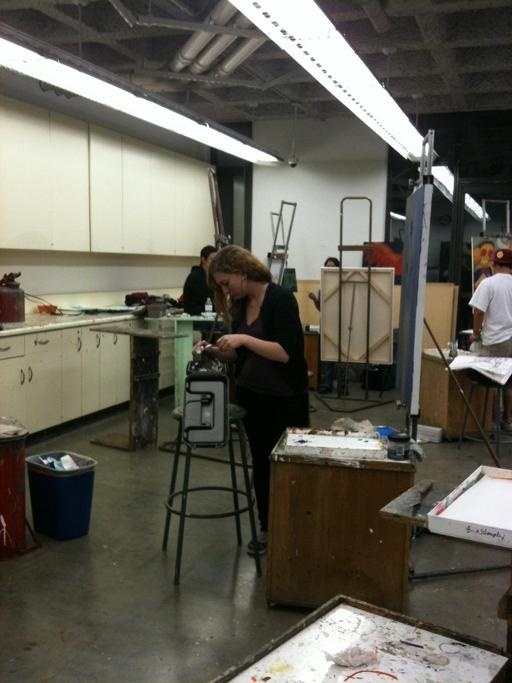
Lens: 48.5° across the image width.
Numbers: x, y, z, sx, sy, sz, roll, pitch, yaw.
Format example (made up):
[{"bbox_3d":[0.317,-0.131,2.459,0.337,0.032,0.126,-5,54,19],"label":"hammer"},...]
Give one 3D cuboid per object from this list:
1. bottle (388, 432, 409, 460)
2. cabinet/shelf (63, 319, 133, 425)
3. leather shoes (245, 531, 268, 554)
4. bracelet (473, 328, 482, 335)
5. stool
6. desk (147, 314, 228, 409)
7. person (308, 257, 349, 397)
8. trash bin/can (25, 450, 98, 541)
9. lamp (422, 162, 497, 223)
[{"bbox_3d":[0.499,0.366,2.009,0.076,0.085,0.080,-1,3,-4],"label":"bottle"},{"bbox_3d":[-1.422,0.246,5.035,0.341,0.802,0.906,2,3,15],"label":"cabinet/shelf"},{"bbox_3d":[0.001,0.965,2.717,0.061,0.082,0.185,-1,-7,9],"label":"leather shoes"},{"bbox_3d":[1.886,-0.098,4.864,0.050,0.057,0.051,-8,6,-43],"label":"bracelet"},{"bbox_3d":[-0.226,0.714,2.831,0.564,0.777,0.570,0,1,36],"label":"stool"},{"bbox_3d":[-0.677,0.092,5.468,0.653,0.786,0.678,6,12,32],"label":"desk"},{"bbox_3d":[0.840,-0.208,6.611,0.483,1.586,1.386,2,6,5],"label":"person"},{"bbox_3d":[-1.011,0.805,2.955,0.342,0.399,0.222,6,7,39],"label":"trash bin/can"},{"bbox_3d":[2.864,-2.004,8.106,0.671,0.838,2.374,3,6,19],"label":"lamp"}]
